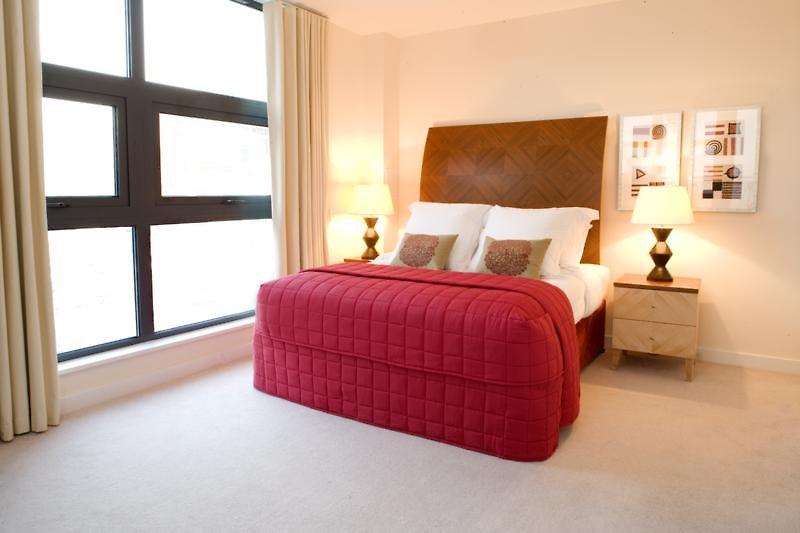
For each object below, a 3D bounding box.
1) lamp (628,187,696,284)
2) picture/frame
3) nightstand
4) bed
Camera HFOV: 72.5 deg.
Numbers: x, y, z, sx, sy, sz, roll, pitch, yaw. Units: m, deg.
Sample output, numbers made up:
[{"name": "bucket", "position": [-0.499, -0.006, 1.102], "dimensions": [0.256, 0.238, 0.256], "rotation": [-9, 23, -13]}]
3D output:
[{"name": "lamp", "position": [2.219, -0.282, 4.713], "dimensions": [0.462, 0.792, 0.424], "rotation": [2, 12, 11]}, {"name": "picture/frame", "position": [2.564, -0.947, 4.770], "dimensions": [1.069, 0.780, 0.044], "rotation": [4, 8, 31]}, {"name": "nightstand", "position": [2.171, 0.463, 4.889], "dimensions": [0.939, 1.026, 0.785], "rotation": [1, 2, 30]}, {"name": "bed", "position": [0.363, -0.142, 4.672], "dimensions": [2.836, 2.260, 2.820], "rotation": [2, 12, 10]}]
